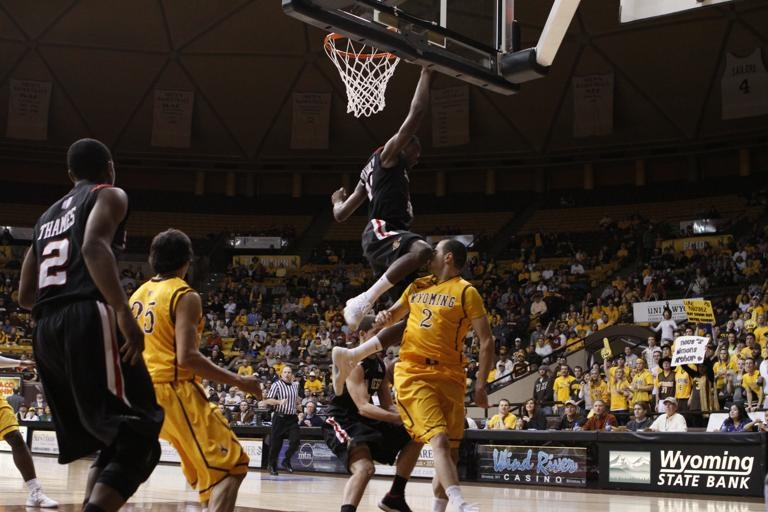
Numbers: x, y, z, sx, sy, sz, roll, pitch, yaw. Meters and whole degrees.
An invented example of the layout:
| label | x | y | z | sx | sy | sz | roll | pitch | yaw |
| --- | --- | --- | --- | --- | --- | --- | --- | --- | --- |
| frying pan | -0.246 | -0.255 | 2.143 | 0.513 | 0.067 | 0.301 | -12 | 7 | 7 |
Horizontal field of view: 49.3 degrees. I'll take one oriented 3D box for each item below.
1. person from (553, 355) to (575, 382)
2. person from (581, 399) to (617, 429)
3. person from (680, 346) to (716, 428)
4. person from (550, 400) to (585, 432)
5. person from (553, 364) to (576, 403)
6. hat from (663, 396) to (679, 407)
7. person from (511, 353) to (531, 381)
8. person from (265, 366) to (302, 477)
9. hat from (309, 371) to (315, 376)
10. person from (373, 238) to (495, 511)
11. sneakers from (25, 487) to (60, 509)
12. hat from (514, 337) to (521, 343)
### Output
| label | x | y | z | sx | sy | sz | roll | pitch | yaw |
| --- | --- | --- | --- | --- | --- | --- | --- | --- | --- |
| person | 4.674 | 2.956 | 21.876 | 0.402 | 0.909 | 0.503 | -9 | -22 | 33 |
| person | 4.607 | 3.419 | 18.059 | 0.728 | 0.635 | 0.639 | -4 | -11 | 34 |
| person | 7.046 | 2.758 | 18.677 | 0.675 | 1.300 | 0.561 | -5 | -11 | 39 |
| person | 4.127 | 3.529 | 18.576 | 0.726 | 0.605 | 0.647 | -4 | -11 | 36 |
| person | 4.493 | 3.304 | 20.928 | 0.581 | 1.250 | 0.311 | -9 | 28 | -4 |
| hat | 5.956 | 3.003 | 17.385 | 0.193 | 0.159 | 0.301 | -9 | -36 | 38 |
| person | 3.906 | 3.141 | 23.857 | 0.468 | 0.680 | 0.863 | 1 | -9 | 8 |
| person | -2.350 | 3.831 | 19.587 | 0.794 | 2.459 | 1.294 | 3 | -9 | -6 |
| hat | -1.928 | 3.213 | 22.812 | 0.154 | 0.145 | 0.231 | 4 | -9 | -9 |
| person | 0.777 | 1.545 | 11.409 | 1.357 | 3.634 | 0.754 | 2 | -9 | 0 |
| sneakers | -5.348 | 3.825 | 13.188 | 0.658 | 0.292 | 0.237 | -7 | -12 | 29 |
| hat | 3.966 | 2.501 | 24.861 | 0.170 | 0.088 | 0.262 | 0 | -19 | 11 |
